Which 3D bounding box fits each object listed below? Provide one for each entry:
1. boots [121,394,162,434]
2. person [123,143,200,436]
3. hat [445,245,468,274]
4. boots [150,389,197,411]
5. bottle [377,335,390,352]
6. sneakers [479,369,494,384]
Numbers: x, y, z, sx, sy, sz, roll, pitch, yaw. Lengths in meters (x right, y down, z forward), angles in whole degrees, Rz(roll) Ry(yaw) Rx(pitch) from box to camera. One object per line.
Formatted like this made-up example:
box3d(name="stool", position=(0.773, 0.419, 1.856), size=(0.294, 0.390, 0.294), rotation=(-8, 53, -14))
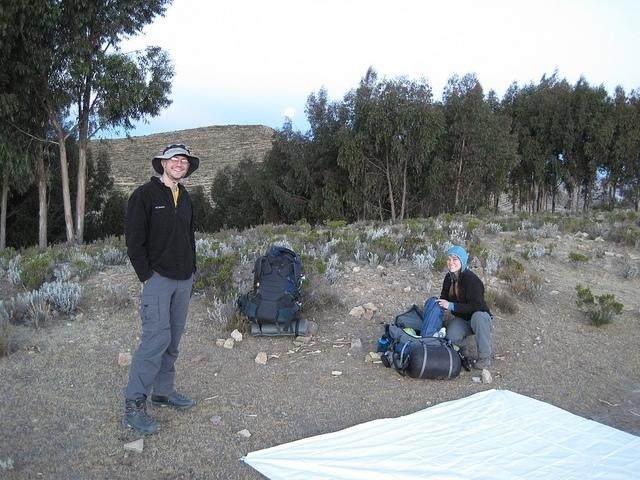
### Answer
box3d(name="boots", position=(-2.389, 2.302, 6.552), size=(0.509, 0.471, 0.207), rotation=(13, 11, 10))
box3d(name="person", position=(-2.135, 0.630, 6.593), size=(0.896, 3.809, 0.528), rotation=(-1, 7, -28))
box3d(name="hat", position=(2.384, 0.320, 8.275), size=(0.318, 0.530, 0.458), rotation=(-2, -13, 40))
box3d(name="boots", position=(-2.096, 2.252, 6.978), size=(0.506, 0.291, 0.262), rotation=(3, 2, -9))
box3d(name="bottle", position=(1.087, 1.756, 8.271), size=(0.110, 0.290, 0.289), rotation=(-2, 8, -39))
box3d(name="sneakers", position=(2.600, 2.136, 7.707), size=(0.182, 0.072, 0.156), rotation=(40, 45, 2))
